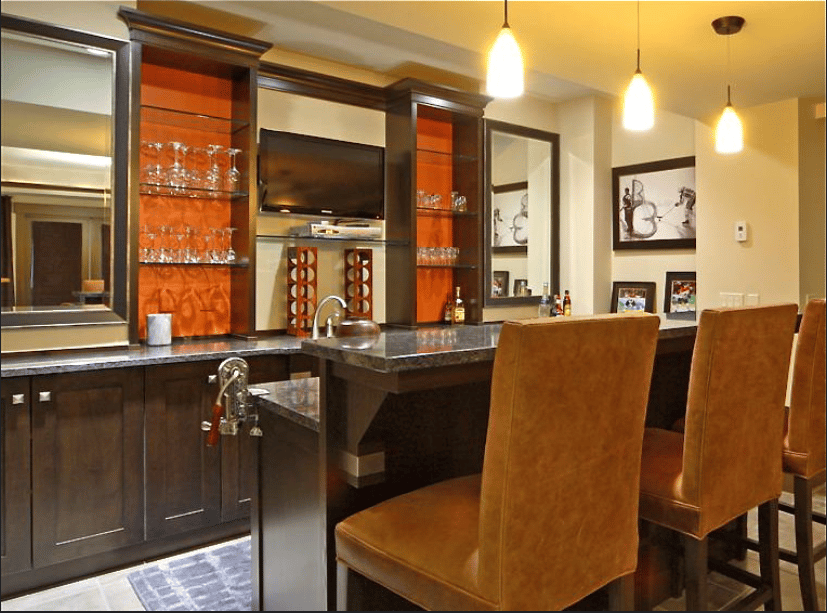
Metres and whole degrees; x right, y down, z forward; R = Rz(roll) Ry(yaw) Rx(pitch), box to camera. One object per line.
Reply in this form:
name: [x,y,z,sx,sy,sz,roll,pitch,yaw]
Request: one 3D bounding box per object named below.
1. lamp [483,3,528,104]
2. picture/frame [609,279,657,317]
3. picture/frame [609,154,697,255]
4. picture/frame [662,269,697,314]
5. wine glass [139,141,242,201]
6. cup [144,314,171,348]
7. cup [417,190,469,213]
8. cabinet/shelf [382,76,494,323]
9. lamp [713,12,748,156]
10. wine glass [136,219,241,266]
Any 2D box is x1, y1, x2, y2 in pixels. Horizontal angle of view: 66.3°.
lamp: [0.421,-1.178,2.867,0.151,0.464,0.179,1,4,9]
picture/frame: [1.790,-0.073,5.096,0.286,0.291,0.021,-13,-20,41]
picture/frame: [2.058,-0.861,5.344,0.918,0.907,0.061,1,3,44]
picture/frame: [2.182,-0.117,5.157,0.017,0.481,0.345,8,-9,-32]
wine glass: [-1.394,-0.864,3.970,0.598,0.345,0.293,-1,4,-24]
cup: [-1.538,0.149,3.807,0.178,0.199,0.173,0,-2,0]
cup: [0.227,-0.817,4.995,0.248,0.115,0.340,0,-2,1]
cabinet/shelf: [0.177,-0.743,4.943,0.923,1.802,0.428,-3,5,-34]
lamp: [1.871,-1.186,3.749,0.161,0.646,1.123,2,4,27]
wine glass: [-1.413,-0.381,3.971,0.576,0.255,0.300,-1,4,-20]
